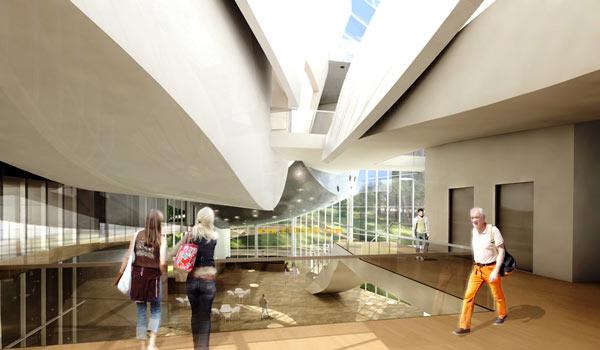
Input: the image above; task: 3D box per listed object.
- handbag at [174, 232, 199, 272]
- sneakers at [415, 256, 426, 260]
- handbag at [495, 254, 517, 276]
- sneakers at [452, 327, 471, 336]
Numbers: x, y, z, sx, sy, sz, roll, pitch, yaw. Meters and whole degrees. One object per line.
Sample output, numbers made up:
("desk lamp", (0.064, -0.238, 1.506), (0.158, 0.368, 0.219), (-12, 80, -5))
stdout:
("handbag", (-2.187, 1.511, 6.398), (0.450, 0.753, 0.320), (-3, 13, -18))
("sneakers", (3.221, 2.254, 8.998), (0.139, 0.091, 0.187), (-1, -6, 7))
("handbag", (4.592, 1.983, 7.373), (0.238, 0.605, 0.622), (11, 15, 38))
("sneakers", (3.554, 3.463, 7.375), (0.415, 0.154, 0.146), (2, -8, -5))
